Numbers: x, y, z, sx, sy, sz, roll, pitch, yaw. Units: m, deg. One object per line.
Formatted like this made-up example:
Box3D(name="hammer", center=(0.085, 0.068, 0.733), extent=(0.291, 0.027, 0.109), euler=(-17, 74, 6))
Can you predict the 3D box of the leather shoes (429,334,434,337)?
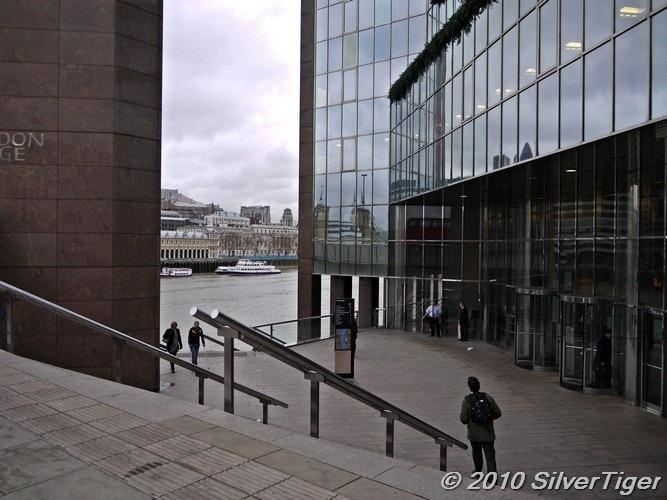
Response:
Box3D(name="leather shoes", center=(4.252, 3.695, 28.737), extent=(0.182, 0.068, 0.464), euler=(6, -2, 4))
